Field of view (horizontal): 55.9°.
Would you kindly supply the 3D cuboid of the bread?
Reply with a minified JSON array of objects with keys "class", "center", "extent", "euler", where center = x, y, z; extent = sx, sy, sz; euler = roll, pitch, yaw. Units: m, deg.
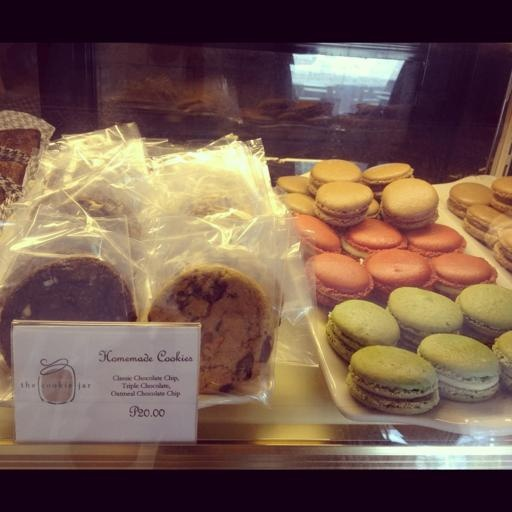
[{"class":"bread","center":[0.186,0.028,0.760],"extent":[0.366,0.068,0.475],"euler":[-3,50,-5]}]
